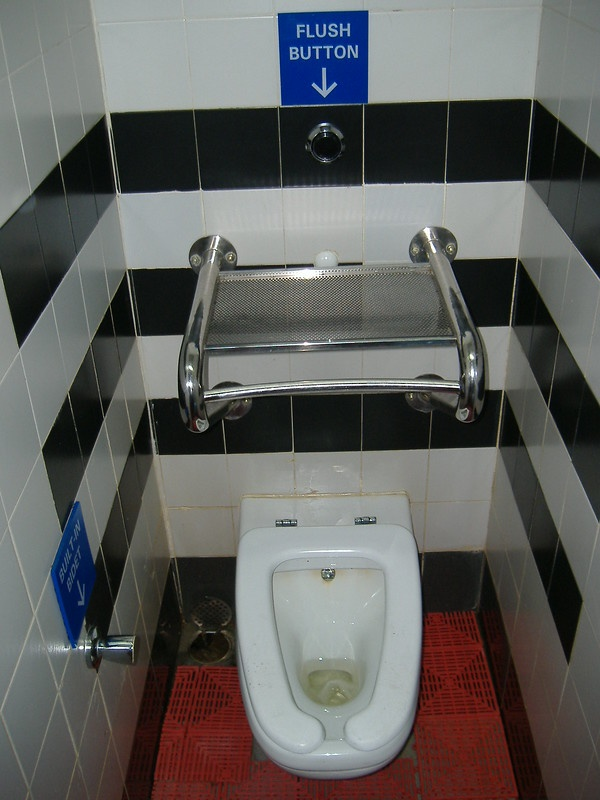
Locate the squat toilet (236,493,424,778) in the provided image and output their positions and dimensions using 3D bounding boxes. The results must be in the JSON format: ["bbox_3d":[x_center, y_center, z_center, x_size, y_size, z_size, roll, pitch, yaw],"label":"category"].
[{"bbox_3d":[0.064,0.575,1.358,0.444,0.348,0.628,0,29,0],"label":"squat toilet"}]
